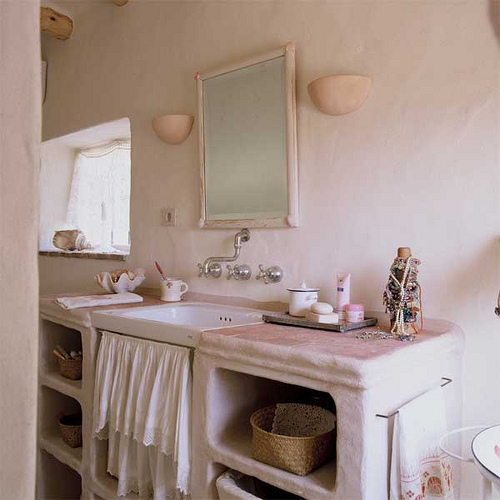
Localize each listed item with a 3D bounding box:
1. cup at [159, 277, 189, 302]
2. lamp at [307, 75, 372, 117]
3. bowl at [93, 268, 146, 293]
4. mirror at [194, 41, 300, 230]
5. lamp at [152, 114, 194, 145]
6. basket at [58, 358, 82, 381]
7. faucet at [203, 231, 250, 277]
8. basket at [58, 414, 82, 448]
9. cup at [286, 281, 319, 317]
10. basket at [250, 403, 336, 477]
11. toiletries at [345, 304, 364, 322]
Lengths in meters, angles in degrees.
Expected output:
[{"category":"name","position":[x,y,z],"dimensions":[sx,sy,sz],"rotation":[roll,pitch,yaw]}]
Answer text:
[{"category":"cup","position":[-0.330,0.179,2.210],"dimensions":[0.123,0.107,0.137],"rotation":[1,-5,-8]},{"category":"lamp","position":[0.282,-0.465,1.617],"dimensions":[0.138,0.065,0.138],"rotation":[0,0,-34]},{"category":"bowl","position":[-0.602,0.147,2.323],"dimensions":[0.189,0.116,0.179],"rotation":[0,-5,0]},{"category":"mirror","position":[-0.025,-0.419,1.992],"dimensions":[0.562,0.693,0.080],"rotation":[-4,-6,44]},{"category":"lamp","position":[-0.343,-0.521,2.214],"dimensions":[0.134,0.096,0.137],"rotation":[2,11,44]},{"category":"basket","position":[-0.718,0.478,2.041],"dimensions":[0.078,0.071,0.105],"rotation":[-2,-6,23]},{"category":"faucet","position":[-0.135,0.017,2.068],"dimensions":[0.118,0.194,0.315],"rotation":[4,-6,-40]},{"category":"basket","position":[-0.715,0.734,2.062],"dimensions":[0.106,0.091,0.122],"rotation":[-3,-6,33]},{"category":"cup","position":[0.174,0.160,1.649],"dimensions":[0.094,0.112,0.107],"rotation":[2,3,-28]},{"category":"basket","position":[0.090,0.492,1.314],"dimensions":[0.135,0.074,0.169],"rotation":[4,-9,-40]},{"category":"toiletries","position":[0.307,0.187,1.475],"dimensions":[0.045,0.043,0.047],"rotation":[1,2,23]}]
